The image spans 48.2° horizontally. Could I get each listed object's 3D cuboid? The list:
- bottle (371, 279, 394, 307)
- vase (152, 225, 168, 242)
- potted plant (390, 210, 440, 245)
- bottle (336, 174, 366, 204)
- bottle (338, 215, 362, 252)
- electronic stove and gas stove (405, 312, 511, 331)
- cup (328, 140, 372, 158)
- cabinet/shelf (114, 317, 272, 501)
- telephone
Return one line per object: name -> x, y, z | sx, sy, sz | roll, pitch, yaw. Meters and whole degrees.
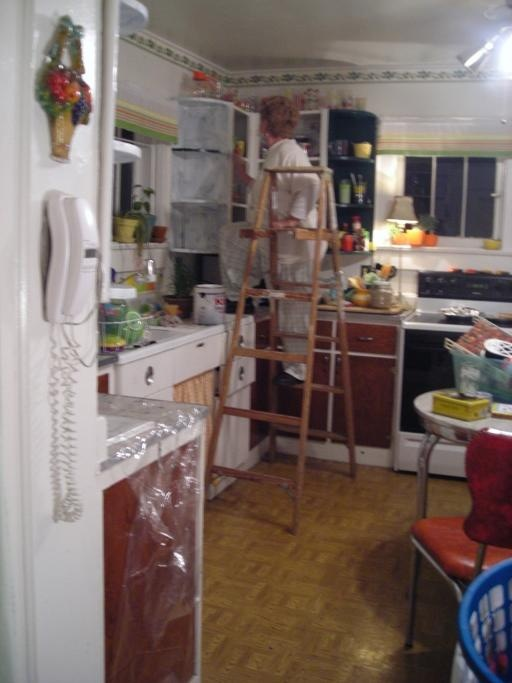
bottle -> 0.787, -0.295, 3.591 | 0.160, 0.155, 0.153 | 0, -1, 35
vase -> -0.572, -0.648, 3.480 | 0.098, 0.082, 0.100 | 6, 12, 20
potted plant -> 1.132, -0.795, 4.027 | 0.250, 0.175, 0.220 | -2, 9, -11
bottle -> 0.675, -1.042, 3.966 | 0.243, 0.250, 0.147 | 10, 15, 39
bottle -> 0.608, -0.729, 3.988 | 0.270, 0.271, 0.156 | -1, 8, 7
electronic stove and gas stove -> 1.199, -0.105, 3.469 | 0.580, 0.067, 0.636 | 3, 8, 14
cup -> 0.647, -1.278, 3.889 | 0.229, 0.090, 0.141 | 3, 9, 11
cabinet/shelf -> -0.228, 0.230, 2.179 | 0.273, 0.683, 0.801 | 5, 17, 22
telephone -> -0.259, -0.113, 0.804 | 0.071, 0.185, 0.055 | -1, 7, -19
